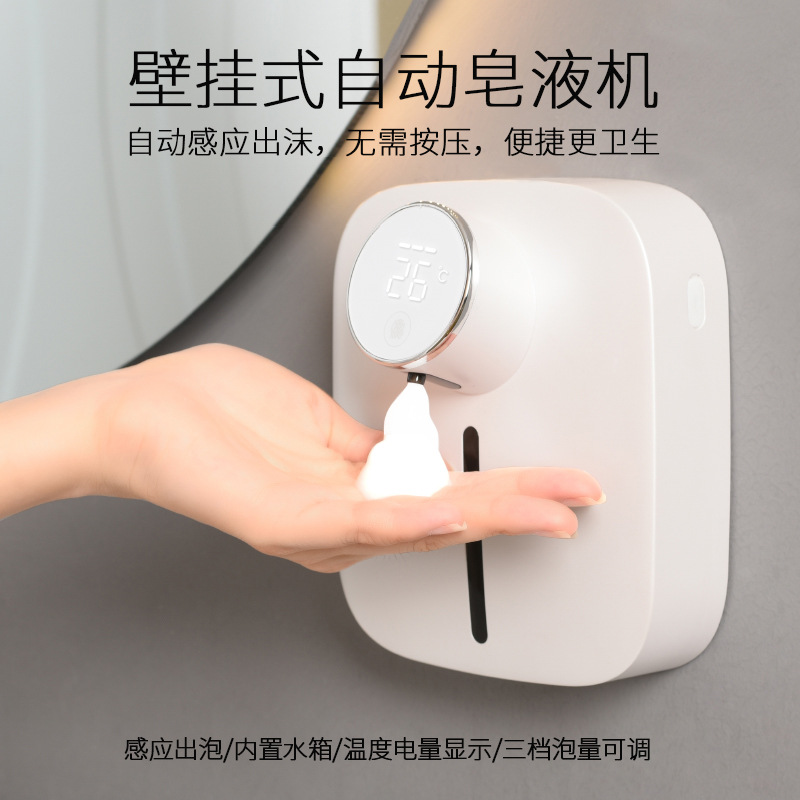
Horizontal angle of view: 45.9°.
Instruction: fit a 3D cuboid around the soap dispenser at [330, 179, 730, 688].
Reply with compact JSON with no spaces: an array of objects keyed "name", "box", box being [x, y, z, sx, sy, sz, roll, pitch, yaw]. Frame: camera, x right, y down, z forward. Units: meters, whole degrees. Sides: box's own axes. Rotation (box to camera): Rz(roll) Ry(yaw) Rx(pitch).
[{"name":"soap dispenser","box":[0.088,0.028,0.661,0.290,0.339,0.232,2,27,2]}]
